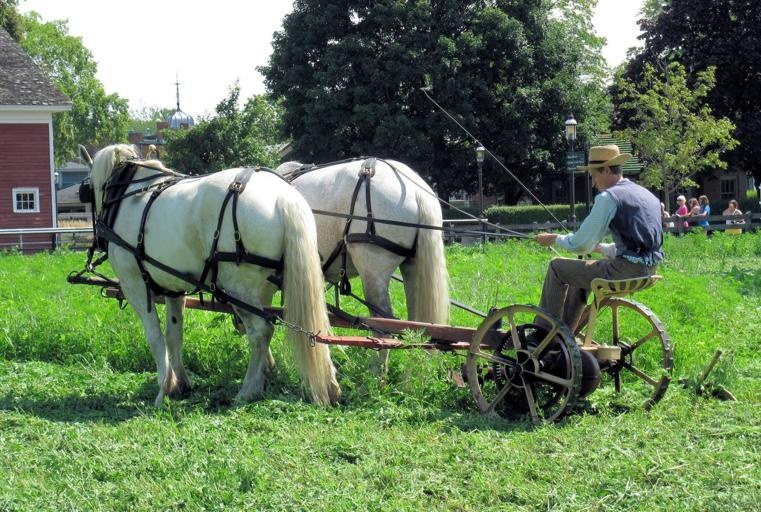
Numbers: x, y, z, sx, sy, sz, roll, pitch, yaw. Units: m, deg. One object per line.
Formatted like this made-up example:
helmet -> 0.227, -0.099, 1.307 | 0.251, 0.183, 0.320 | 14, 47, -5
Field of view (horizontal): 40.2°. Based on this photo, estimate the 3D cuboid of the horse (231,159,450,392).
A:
horse -> -1.228, 0.045, 21.136 | 6.227, 4.579, 1.814 | 1, -4, 32

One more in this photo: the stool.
stool -> 4.127, 0.999, 18.848 | 1.020, 1.477, 1.112 | 14, 11, 17

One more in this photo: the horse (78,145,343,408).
horse -> -3.540, 0.348, 20.282 | 6.110, 5.346, 2.211 | -1, 4, 30
